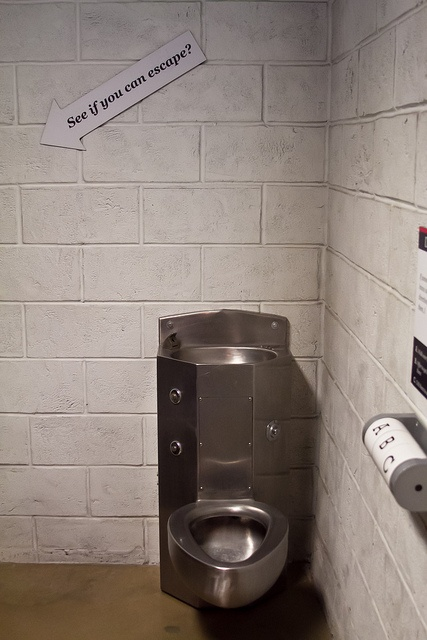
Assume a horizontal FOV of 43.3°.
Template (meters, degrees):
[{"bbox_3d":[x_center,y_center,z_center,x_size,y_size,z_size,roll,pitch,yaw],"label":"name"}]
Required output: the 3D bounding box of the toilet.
[{"bbox_3d":[0.042,0.593,1.354,0.250,0.208,0.335,1,13,11],"label":"toilet"}]
